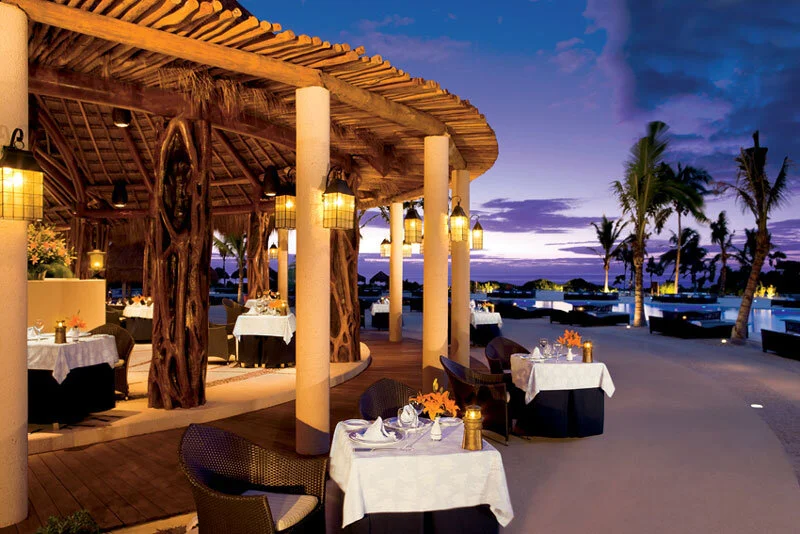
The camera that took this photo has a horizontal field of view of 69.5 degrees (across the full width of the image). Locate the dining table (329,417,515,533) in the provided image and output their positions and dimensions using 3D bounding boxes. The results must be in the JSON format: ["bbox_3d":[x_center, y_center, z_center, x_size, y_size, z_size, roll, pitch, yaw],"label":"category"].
[{"bbox_3d":[0.160,2.189,6.106,1.788,1.003,0.776,1,-1,-10],"label":"dining table"}]

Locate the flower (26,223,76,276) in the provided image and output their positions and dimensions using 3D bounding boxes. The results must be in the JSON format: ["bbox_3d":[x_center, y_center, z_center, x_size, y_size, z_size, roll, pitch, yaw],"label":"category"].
[{"bbox_3d":[-6.423,-0.314,10.573,0.646,1.092,1.338,1,-1,-32],"label":"flower"}]

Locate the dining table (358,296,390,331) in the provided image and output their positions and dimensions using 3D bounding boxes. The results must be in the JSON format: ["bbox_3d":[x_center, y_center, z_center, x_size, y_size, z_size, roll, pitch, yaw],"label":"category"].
[{"bbox_3d":[-0.768,1.571,19.033,1.143,1.434,1.092,1,-6,-6],"label":"dining table"}]

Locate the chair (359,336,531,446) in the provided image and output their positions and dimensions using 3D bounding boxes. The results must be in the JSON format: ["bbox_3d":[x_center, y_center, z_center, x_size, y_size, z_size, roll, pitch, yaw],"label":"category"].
[{"bbox_3d":[0.416,1.712,8.195,1.691,1.614,1.323,-7,-8,37],"label":"chair"}]

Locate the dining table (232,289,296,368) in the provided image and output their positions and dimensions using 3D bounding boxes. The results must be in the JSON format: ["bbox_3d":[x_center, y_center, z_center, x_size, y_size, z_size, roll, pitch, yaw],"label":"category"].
[{"bbox_3d":[-2.949,1.352,12.142,1.154,1.523,1.473,1,-1,-31],"label":"dining table"}]

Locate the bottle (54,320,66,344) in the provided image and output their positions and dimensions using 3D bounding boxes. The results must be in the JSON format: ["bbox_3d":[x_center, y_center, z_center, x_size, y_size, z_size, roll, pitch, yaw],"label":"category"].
[{"bbox_3d":[-4.890,0.929,8.300,0.131,0.361,0.257,1,0,-35],"label":"bottle"}]

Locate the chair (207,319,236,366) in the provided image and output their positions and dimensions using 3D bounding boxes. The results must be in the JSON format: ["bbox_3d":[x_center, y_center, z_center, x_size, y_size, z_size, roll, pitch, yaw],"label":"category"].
[{"bbox_3d":[-3.683,1.625,12.264,0.698,1.016,0.735,1,2,12],"label":"chair"}]

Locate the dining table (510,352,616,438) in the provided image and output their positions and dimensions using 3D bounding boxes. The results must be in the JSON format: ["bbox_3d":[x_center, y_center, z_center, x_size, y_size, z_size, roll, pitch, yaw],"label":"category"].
[{"bbox_3d":[2.271,1.887,8.883,1.182,0.816,1.244,1,-6,-7],"label":"dining table"}]
